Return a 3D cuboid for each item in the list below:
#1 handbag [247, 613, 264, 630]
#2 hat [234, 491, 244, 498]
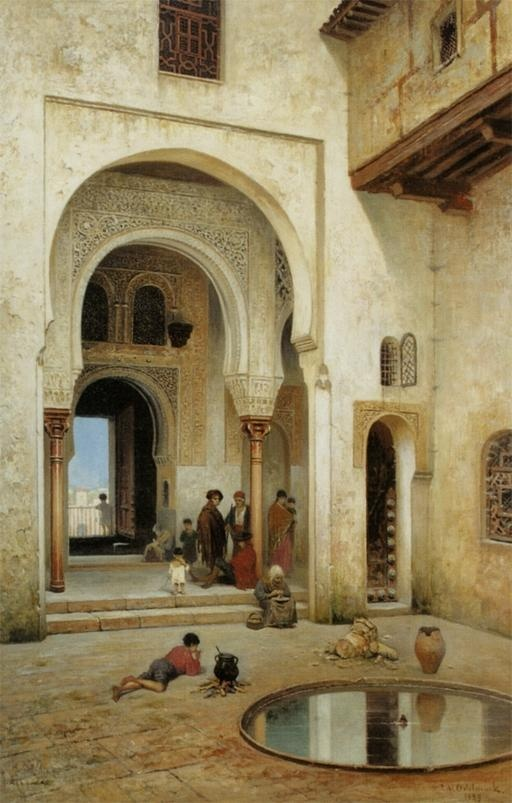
[{"bbox_3d":[0.016,1.879,10.226,0.098,0.139,0.130,2,-7,-28],"label":"handbag"},{"bbox_3d":[-0.184,0.947,12.351,0.072,0.060,0.074,-8,-11,40],"label":"hat"}]
